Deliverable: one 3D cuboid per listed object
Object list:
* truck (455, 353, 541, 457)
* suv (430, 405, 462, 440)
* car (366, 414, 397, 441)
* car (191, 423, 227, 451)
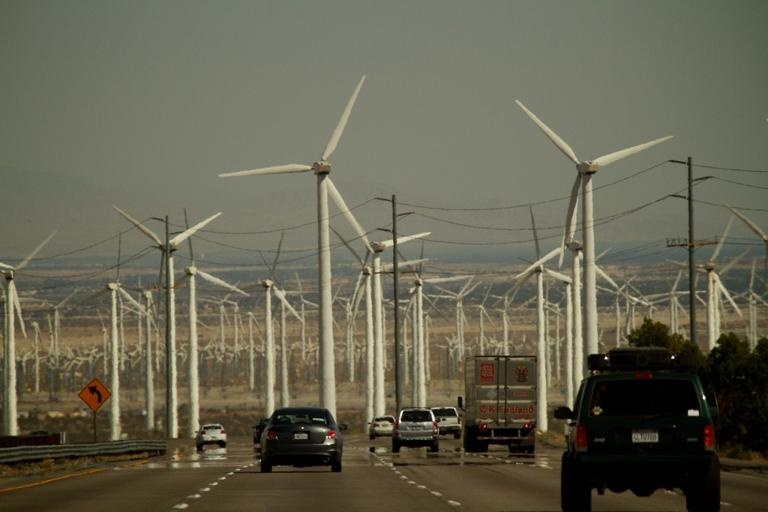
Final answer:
[{"bbox_3d":[6.621,8.480,75.248,3.318,3.792,6.176,0,-1,-1],"label":"truck"},{"bbox_3d":[4.587,12.317,94.481,1.903,1.664,3.892,0,1,-1],"label":"suv"},{"bbox_3d":[-0.314,13.530,99.687,1.874,1.457,4.132,0,-1,-5],"label":"car"},{"bbox_3d":[-11.735,12.446,87.950,1.913,1.935,3.292,0,-13,-8],"label":"car"}]
